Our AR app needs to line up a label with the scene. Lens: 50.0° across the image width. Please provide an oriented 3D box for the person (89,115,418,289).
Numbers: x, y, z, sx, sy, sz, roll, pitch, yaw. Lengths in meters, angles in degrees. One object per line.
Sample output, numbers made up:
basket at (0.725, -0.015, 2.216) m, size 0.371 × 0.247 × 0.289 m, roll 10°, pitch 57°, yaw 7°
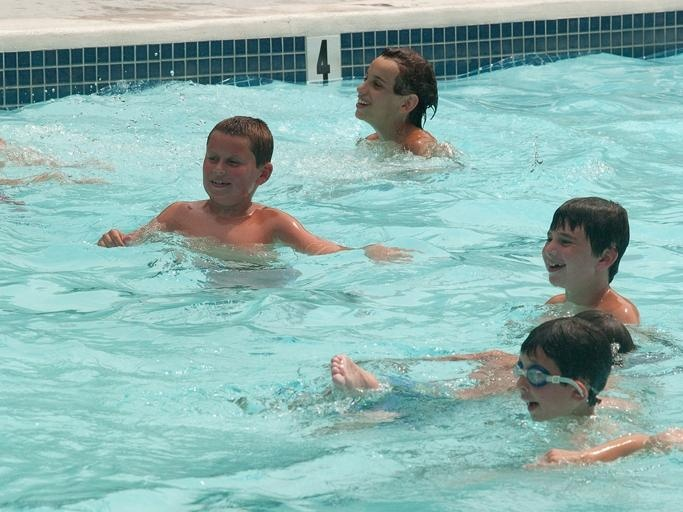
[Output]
person at (-0.444, -0.269, 3.825) m, size 1.999 × 0.512 × 0.376 m, roll 1°, pitch 6°, yaw -2°
